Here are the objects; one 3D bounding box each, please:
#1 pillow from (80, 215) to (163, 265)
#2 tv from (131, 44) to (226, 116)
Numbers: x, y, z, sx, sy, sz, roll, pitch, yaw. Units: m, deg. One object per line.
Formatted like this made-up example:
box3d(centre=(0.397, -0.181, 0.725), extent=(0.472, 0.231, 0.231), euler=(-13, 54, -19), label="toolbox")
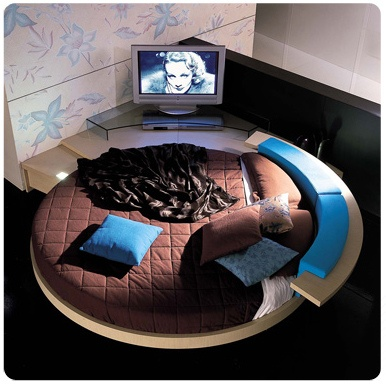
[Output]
box3d(centre=(-0.480, 0.322, 1.989), extent=(0.439, 0.153, 0.458), euler=(14, 24, 14), label="pillow")
box3d(centre=(-0.190, -1.318, 3.439), extent=(0.777, 0.635, 0.285), euler=(1, 38, 1), label="tv")
